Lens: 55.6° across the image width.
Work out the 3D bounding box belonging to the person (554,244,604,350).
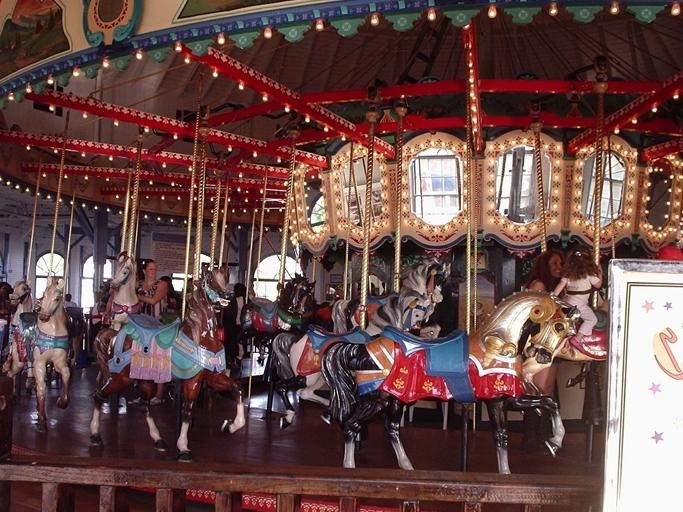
[{"bbox_3d":[2.548,0.449,6.934,0.466,1.060,0.318,0,-8,14],"label":"person"}]

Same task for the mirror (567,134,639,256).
[{"bbox_3d":[3.828,-0.907,9.319,1.040,1.654,0.475,7,-10,-33],"label":"mirror"}]

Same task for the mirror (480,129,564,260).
[{"bbox_3d":[2.598,-0.897,9.251,1.156,1.748,0.408,0,-8,16],"label":"mirror"}]

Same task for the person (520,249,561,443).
[{"bbox_3d":[2.402,1.096,7.651,0.462,2.325,1.391,0,-8,17],"label":"person"}]

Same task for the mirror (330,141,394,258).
[{"bbox_3d":[0.280,-0.921,10.075,0.477,1.688,1.309,8,-10,-37],"label":"mirror"}]
